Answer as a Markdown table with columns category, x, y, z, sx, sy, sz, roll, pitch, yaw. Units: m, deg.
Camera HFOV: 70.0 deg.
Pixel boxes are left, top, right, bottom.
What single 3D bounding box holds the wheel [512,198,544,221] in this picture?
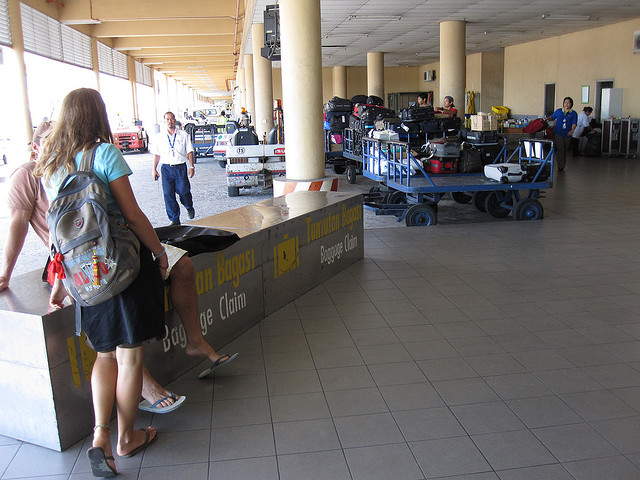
| category | x | y | z | sx | sy | sz | roll | pitch | yaw |
| --- | --- | --- | --- | --- | --- | --- | --- | --- | --- |
| wheel | 3.346 | -0.497 | 7.373 | 0.406 | 0.388 | 0.127 | 0 | 11 | -5 |

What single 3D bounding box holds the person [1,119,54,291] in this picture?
| category | x | y | z | sx | sy | sz | roll | pitch | yaw |
| --- | --- | --- | --- | --- | --- | --- | --- | --- | --- |
| person | -1.818 | -0.269 | 2.817 | 0.241 | 0.993 | 0.921 | -3 | -16 | -33 |

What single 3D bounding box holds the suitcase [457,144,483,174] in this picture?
| category | x | y | z | sx | sy | sz | roll | pitch | yaw |
| --- | --- | --- | --- | --- | --- | --- | --- | --- | --- |
| suitcase | 2.697 | -1.514 | 8.481 | 0.571 | 0.532 | 0.439 | -6 | 9 | -30 |

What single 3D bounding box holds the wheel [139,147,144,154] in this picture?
| category | x | y | z | sx | sy | sz | roll | pitch | yaw |
| --- | --- | --- | --- | --- | --- | --- | --- | --- | --- |
| wheel | -9.040 | -4.609 | 23.082 | 0.306 | 0.327 | 0.299 | 0 | 14 | 0 |

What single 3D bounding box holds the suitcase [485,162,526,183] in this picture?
| category | x | y | z | sx | sy | sz | roll | pitch | yaw |
| --- | --- | --- | --- | --- | --- | --- | --- | --- | --- |
| suitcase | 3.043 | -1.122 | 7.404 | 0.470 | 0.233 | 0.342 | -7 | 13 | -12 |

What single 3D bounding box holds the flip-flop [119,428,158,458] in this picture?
| category | x | y | z | sx | sy | sz | roll | pitch | yaw |
| --- | --- | --- | --- | --- | --- | --- | --- | --- | --- |
| flip-flop | -0.996 | 1.113 | 2.514 | 0.073 | 0.040 | 0.174 | 6 | 19 | 35 |

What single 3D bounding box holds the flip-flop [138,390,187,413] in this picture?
| category | x | y | z | sx | sy | sz | roll | pitch | yaw |
| --- | --- | --- | --- | --- | --- | --- | --- | --- | --- |
| flip-flop | -0.926 | 0.962 | 2.664 | 0.272 | 0.103 | 0.095 | 1 | 17 | 12 |

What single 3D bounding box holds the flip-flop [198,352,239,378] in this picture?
| category | x | y | z | sx | sy | sz | roll | pitch | yaw |
| --- | --- | --- | --- | --- | --- | --- | --- | --- | --- |
| flip-flop | -0.659 | 0.812 | 3.009 | 0.336 | 0.059 | 0.122 | -26 | 0 | 24 |

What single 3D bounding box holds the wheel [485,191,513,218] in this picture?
| category | x | y | z | sx | sy | sz | roll | pitch | yaw |
| --- | --- | --- | --- | --- | --- | --- | --- | --- | --- |
| wheel | 3.036 | -0.621 | 7.733 | 0.391 | 0.376 | 0.124 | -19 | 5 | -12 |

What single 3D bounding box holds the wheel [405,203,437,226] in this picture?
| category | x | y | z | sx | sy | sz | roll | pitch | yaw |
| --- | --- | --- | --- | --- | --- | --- | --- | --- | --- |
| wheel | 1.597 | -0.399 | 7.228 | 0.377 | 0.359 | 0.128 | 1 | 11 | -7 |

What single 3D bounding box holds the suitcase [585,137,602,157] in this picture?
| category | x | y | z | sx | sy | sz | roll | pitch | yaw |
| --- | --- | --- | --- | --- | --- | --- | --- | --- | --- |
| suitcase | 9.167 | -3.163 | 15.323 | 0.473 | 0.631 | 0.321 | 6 | 19 | 28 |

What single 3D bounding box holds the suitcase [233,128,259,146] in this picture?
| category | x | y | z | sx | sy | sz | roll | pitch | yaw |
| --- | --- | --- | --- | --- | --- | --- | --- | --- | --- |
| suitcase | -1.788 | -2.499 | 11.130 | 0.611 | 0.383 | 0.557 | 1 | 24 | 1 |

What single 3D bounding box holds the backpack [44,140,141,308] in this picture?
| category | x | y | z | sx | sy | sz | roll | pitch | yaw |
| --- | --- | --- | --- | --- | --- | --- | --- | --- | --- |
| backpack | -1.034 | -0.045 | 2.288 | 0.451 | 0.733 | 0.441 | -23 | -5 | 38 |

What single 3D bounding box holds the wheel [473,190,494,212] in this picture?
| category | x | y | z | sx | sy | sz | roll | pitch | yaw |
| --- | --- | --- | --- | --- | --- | --- | --- | --- | --- |
| wheel | 2.841 | -0.699 | 7.922 | 0.392 | 0.373 | 0.135 | 0 | 9 | -20 |

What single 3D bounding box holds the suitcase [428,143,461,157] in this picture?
| category | x | y | z | sx | sy | sz | roll | pitch | yaw |
| --- | --- | --- | --- | --- | --- | --- | --- | --- | --- |
| suitcase | 2.271 | -1.658 | 8.313 | 0.542 | 0.260 | 0.305 | 3 | 17 | 18 |

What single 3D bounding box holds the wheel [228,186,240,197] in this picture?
| category | x | y | z | sx | sy | sz | roll | pitch | yaw |
| --- | --- | --- | --- | --- | --- | --- | --- | --- | --- |
| wheel | -1.951 | -1.116 | 10.365 | 0.266 | 0.250 | 0.191 | -1 | 19 | -7 |

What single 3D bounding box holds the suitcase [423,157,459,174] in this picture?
| category | x | y | z | sx | sy | sz | roll | pitch | yaw |
| --- | --- | --- | --- | --- | --- | --- | --- | --- | --- |
| suitcase | 2.253 | -1.443 | 8.416 | 0.394 | 0.242 | 0.385 | -8 | 14 | -34 |

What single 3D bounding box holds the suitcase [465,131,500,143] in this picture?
| category | x | y | z | sx | sy | sz | roll | pitch | yaw |
| --- | --- | --- | --- | --- | --- | --- | --- | --- | --- |
| suitcase | 3.124 | -1.985 | 8.645 | 0.377 | 0.139 | 0.373 | -7 | 15 | -22 |

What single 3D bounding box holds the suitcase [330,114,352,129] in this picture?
| category | x | y | z | sx | sy | sz | roll | pitch | yaw |
| --- | --- | --- | --- | --- | --- | --- | --- | --- | --- |
| suitcase | 0.572 | -3.600 | 13.743 | 0.551 | 0.414 | 0.229 | -1 | 16 | 7 |

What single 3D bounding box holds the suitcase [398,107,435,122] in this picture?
| category | x | y | z | sx | sy | sz | roll | pitch | yaw |
| --- | --- | --- | --- | --- | --- | --- | --- | --- | --- |
| suitcase | 2.136 | -2.790 | 10.077 | 0.729 | 0.295 | 0.421 | 1 | 17 | 12 |

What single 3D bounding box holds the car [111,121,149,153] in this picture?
| category | x | y | z | sx | sy | sz | roll | pitch | yaw |
| --- | --- | --- | --- | --- | --- | --- | --- | --- | --- |
| car | -9.585 | -4.996 | 22.714 | 1.444 | 1.244 | 2.321 | -4 | 8 | -17 |

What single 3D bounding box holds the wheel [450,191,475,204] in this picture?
| category | x | y | z | sx | sy | sz | roll | pitch | yaw |
| --- | --- | --- | --- | --- | --- | --- | --- | --- | --- |
| wheel | 2.832 | -0.827 | 9.169 | 0.315 | 0.285 | 0.278 | -1 | 0 | -36 |

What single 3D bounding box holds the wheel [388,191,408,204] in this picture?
| category | x | y | z | sx | sy | sz | roll | pitch | yaw |
| --- | --- | --- | --- | --- | --- | --- | --- | --- | --- |
| wheel | 1.369 | -0.766 | 8.097 | 0.356 | 0.218 | 0.192 | -4 | 16 | -4 |

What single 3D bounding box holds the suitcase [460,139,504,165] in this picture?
| category | x | y | z | sx | sy | sz | roll | pitch | yaw |
| --- | --- | --- | --- | --- | --- | --- | --- | --- | --- |
| suitcase | 2.975 | -1.687 | 8.508 | 0.529 | 0.536 | 0.819 | 0 | 7 | 30 |

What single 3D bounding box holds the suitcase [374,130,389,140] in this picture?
| category | x | y | z | sx | sy | sz | roll | pitch | yaw |
| --- | --- | --- | --- | --- | --- | --- | --- | --- | --- |
| suitcase | 1.192 | -2.102 | 9.043 | 0.348 | 0.124 | 0.394 | 5 | 12 | 34 |

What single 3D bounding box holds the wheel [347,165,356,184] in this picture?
| category | x | y | z | sx | sy | sz | roll | pitch | yaw |
| --- | --- | --- | --- | --- | --- | --- | --- | --- | --- |
| wheel | 0.838 | -1.759 | 12.129 | 0.174 | 0.451 | 0.370 | -4 | 16 | -3 |

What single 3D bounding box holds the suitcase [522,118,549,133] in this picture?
| category | x | y | z | sx | sy | sz | roll | pitch | yaw |
| --- | --- | --- | --- | --- | --- | --- | --- | --- | --- |
| suitcase | 5.250 | -2.792 | 11.101 | 0.476 | 0.164 | 0.371 | -27 | 17 | -29 |

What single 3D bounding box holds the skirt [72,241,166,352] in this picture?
| category | x | y | z | sx | sy | sz | roll | pitch | yaw |
| --- | --- | --- | --- | --- | --- | --- | --- | --- | --- |
| skirt | -1.077 | 0.227 | 2.306 | 0.460 | 0.615 | 0.350 | -10 | 38 | -35 |

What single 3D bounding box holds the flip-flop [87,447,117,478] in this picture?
| category | x | y | z | sx | sy | sz | roll | pitch | yaw |
| --- | --- | --- | --- | --- | --- | --- | --- | --- | --- |
| flip-flop | -1.095 | 1.106 | 2.308 | 0.097 | 0.198 | 0.053 | -6 | 33 | 2 |

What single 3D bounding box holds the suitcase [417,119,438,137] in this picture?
| category | x | y | z | sx | sy | sz | roll | pitch | yaw |
| --- | --- | --- | --- | --- | --- | --- | --- | --- | --- |
| suitcase | 2.394 | -2.559 | 10.229 | 0.533 | 0.290 | 0.346 | 0 | -9 | -3 |

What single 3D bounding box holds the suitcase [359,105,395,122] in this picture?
| category | x | y | z | sx | sy | sz | roll | pitch | yaw |
| --- | --- | --- | --- | --- | --- | --- | --- | --- | --- |
| suitcase | 1.399 | -3.218 | 11.489 | 0.810 | 0.331 | 0.610 | 2 | 10 | 9 |
